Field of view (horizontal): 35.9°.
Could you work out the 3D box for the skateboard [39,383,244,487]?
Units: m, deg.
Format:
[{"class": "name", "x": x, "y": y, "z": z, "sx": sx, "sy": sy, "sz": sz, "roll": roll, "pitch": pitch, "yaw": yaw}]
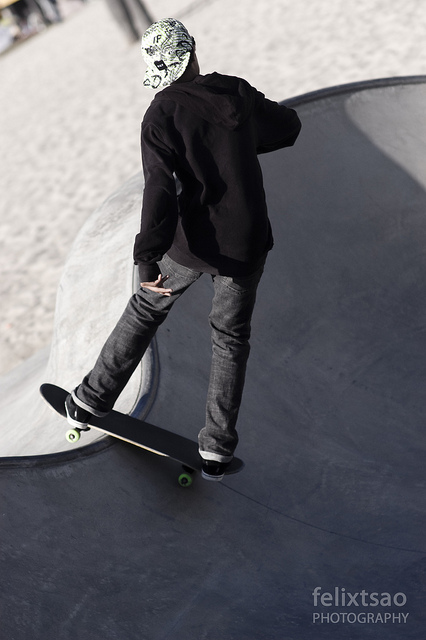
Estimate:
[{"class": "skateboard", "x": -0.254, "y": 0.435, "z": 2.415, "sx": 0.699, "sy": 0.105, "sz": 0.160, "roll": 23, "pitch": 37, "yaw": -1}]
